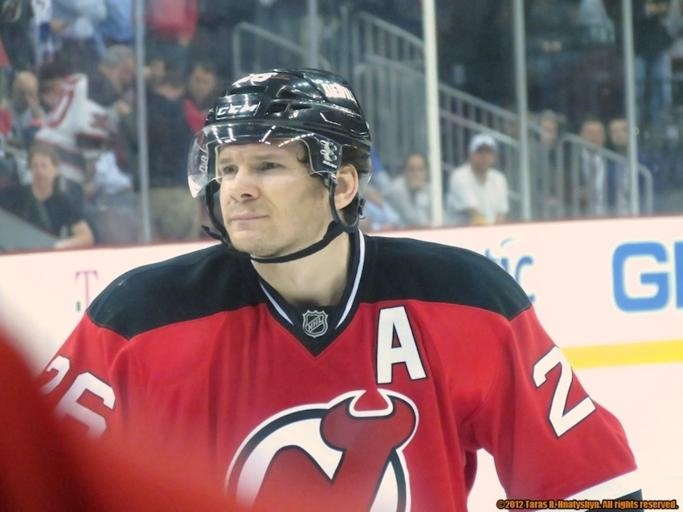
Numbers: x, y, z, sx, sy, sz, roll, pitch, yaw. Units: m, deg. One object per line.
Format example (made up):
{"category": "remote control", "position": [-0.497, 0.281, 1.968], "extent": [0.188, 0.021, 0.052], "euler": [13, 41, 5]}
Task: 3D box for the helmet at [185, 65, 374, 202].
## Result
{"category": "helmet", "position": [-0.276, -0.472, 6.776], "extent": [0.581, 0.634, 0.488], "euler": [7, -13, -26]}
